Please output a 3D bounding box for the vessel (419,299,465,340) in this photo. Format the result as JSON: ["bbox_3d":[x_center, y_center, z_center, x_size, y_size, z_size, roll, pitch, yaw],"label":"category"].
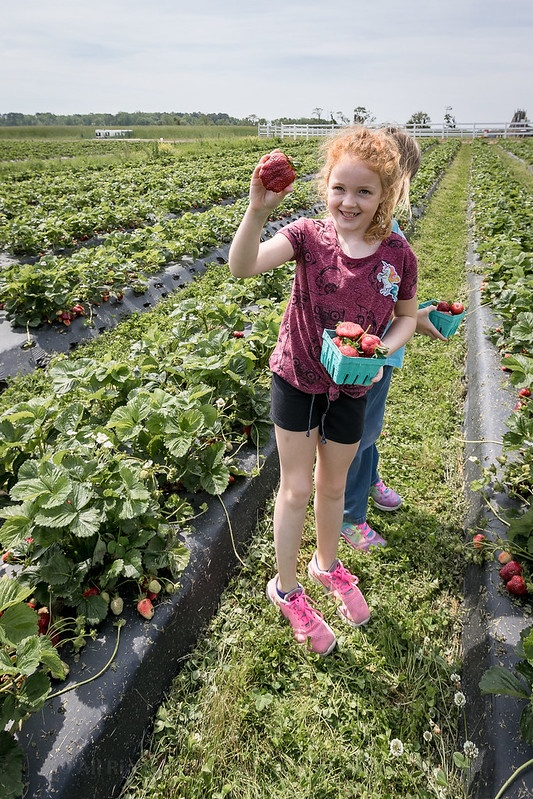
[{"bbox_3d":[1.007,-0.464,2.935,0.216,0.187,0.271,24,21,7],"label":"vessel"}]

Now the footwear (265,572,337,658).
[{"bbox_3d":[0.163,1.023,2.455,0.169,0.174,0.428,-25,54,-22],"label":"footwear"}]

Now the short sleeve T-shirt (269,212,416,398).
[{"bbox_3d":[0.319,-0.358,2.004,0.569,0.681,0.323,2,20,0],"label":"short sleeve T-shirt"}]

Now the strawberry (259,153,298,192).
[{"bbox_3d":[0.042,-0.699,1.602,0.109,0.125,0.121,23,11,-1],"label":"strawberry"}]

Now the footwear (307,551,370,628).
[{"bbox_3d":[0.359,0.960,2.615,0.166,0.178,0.411,-31,55,-21],"label":"footwear"}]
